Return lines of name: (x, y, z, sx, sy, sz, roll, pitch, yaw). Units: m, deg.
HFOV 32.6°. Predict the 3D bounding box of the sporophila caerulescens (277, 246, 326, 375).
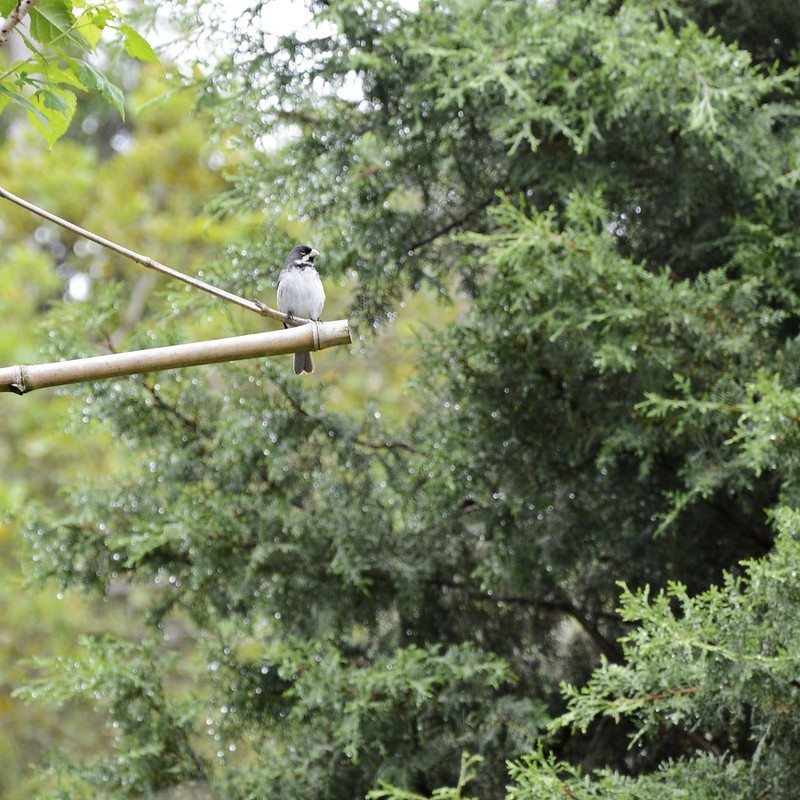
sporophila caerulescens: (-0.458, -0.455, 6.474, 0.199, 0.267, 0.683, -1, -79, -25)
